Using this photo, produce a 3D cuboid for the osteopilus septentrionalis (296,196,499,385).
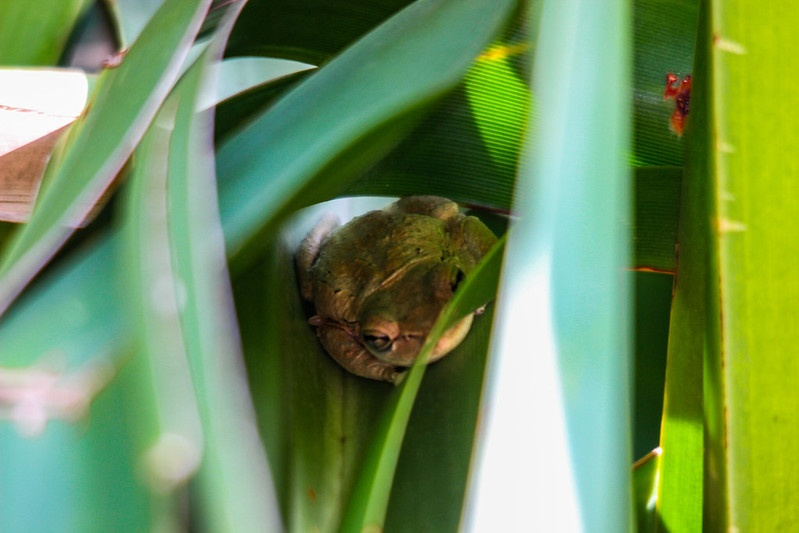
[{"bbox_3d":[-0.009,0.020,1.240,0.235,0.235,0.232,-3,15,-16],"label":"osteopilus septentrionalis"}]
